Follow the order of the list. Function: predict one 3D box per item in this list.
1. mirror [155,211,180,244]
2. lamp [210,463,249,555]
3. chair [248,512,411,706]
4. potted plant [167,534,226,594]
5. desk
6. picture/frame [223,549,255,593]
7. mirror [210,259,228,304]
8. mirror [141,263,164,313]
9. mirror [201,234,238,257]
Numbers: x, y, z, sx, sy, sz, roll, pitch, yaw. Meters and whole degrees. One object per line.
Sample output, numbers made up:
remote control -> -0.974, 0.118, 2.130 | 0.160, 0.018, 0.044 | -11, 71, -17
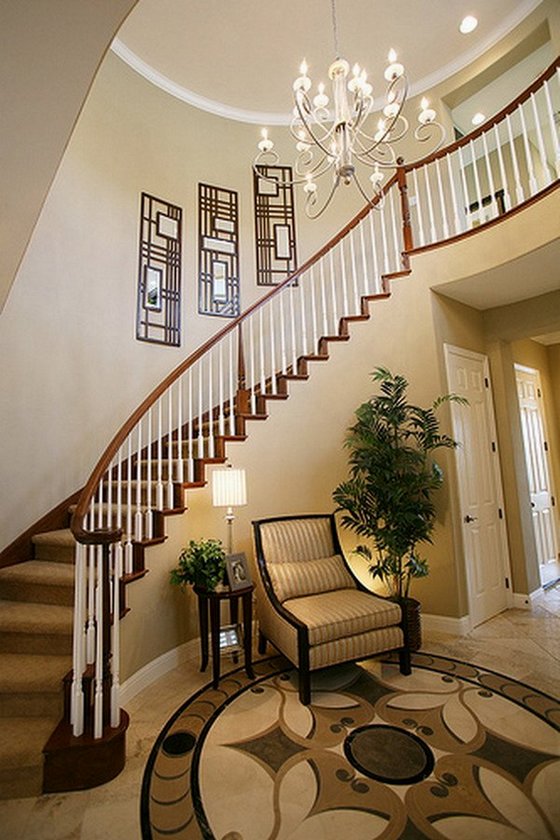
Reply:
mirror -> -1.158, -1.929, 5.496 | 0.024, 0.336, 0.365 | 4, 1, 31
lamp -> -0.347, 0.641, 3.781 | 0.201, 0.641, 0.503 | -1, -2, -4
chair -> 0.265, 1.193, 3.637 | 0.739, 0.988, 0.939 | 0, -7, -27
potted plant -> -0.535, 0.907, 3.475 | 0.295, 0.263, 0.361 | 1, 3, 31
desk -> -0.398, 1.335, 3.545 | 0.503, 0.834, 0.523 | 1, -13, -15
picture/frame -> -0.259, 0.932, 3.558 | 0.156, 0.308, 0.288 | -5, -6, 32
mirror -> -0.664, -1.493, 5.921 | 0.180, 0.463, 0.044 | 0, -3, -30
mirror -> -1.251, -1.269, 5.303 | 0.063, 0.455, 0.270 | -3, -2, 28
mirror -> -0.688, -1.888, 5.942 | 0.283, 0.135, 0.036 | 1, -4, -42
